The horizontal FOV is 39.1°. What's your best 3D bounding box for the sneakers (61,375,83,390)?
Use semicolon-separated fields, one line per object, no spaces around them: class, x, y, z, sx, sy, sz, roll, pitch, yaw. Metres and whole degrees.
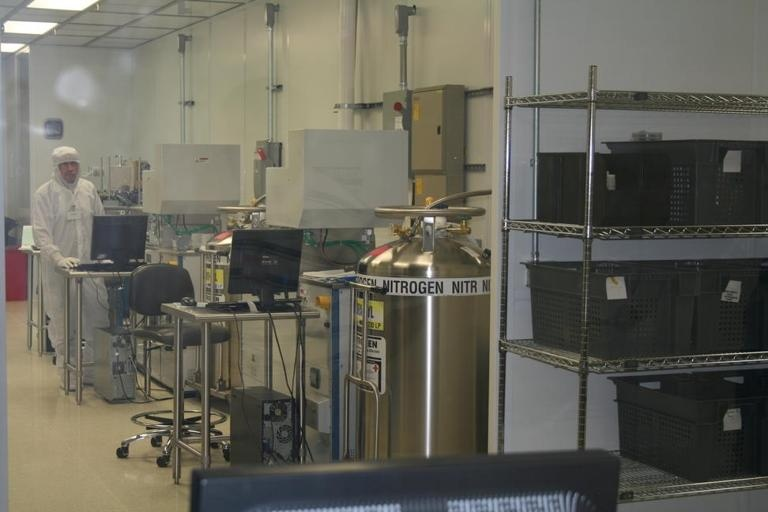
sneakers;-1.689;0.689;5.867;0.090;0.113;0.085;7;2;41

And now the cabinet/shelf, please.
cabinet/shelf;1.078;0.172;4.831;1.898;1.928;0.642;-1;4;-14

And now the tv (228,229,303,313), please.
tv;-0.620;0.077;5.627;0.392;0.412;0.142;1;14;-13

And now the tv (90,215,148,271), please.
tv;-1.422;-0.077;5.770;0.264;0.274;0.093;1;22;-18

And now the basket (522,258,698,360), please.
basket;1.015;0.239;4.964;0.636;0.409;0.490;-1;3;-18

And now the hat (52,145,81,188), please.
hat;-1.637;-0.466;5.589;0.167;0.248;0.170;-3;5;-32

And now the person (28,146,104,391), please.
person;-1.653;0.067;5.723;0.372;1.263;0.259;-1;3;-16

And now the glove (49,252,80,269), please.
glove;-1.679;0.026;5.729;0.103;0.033;0.078;9;-23;-19
